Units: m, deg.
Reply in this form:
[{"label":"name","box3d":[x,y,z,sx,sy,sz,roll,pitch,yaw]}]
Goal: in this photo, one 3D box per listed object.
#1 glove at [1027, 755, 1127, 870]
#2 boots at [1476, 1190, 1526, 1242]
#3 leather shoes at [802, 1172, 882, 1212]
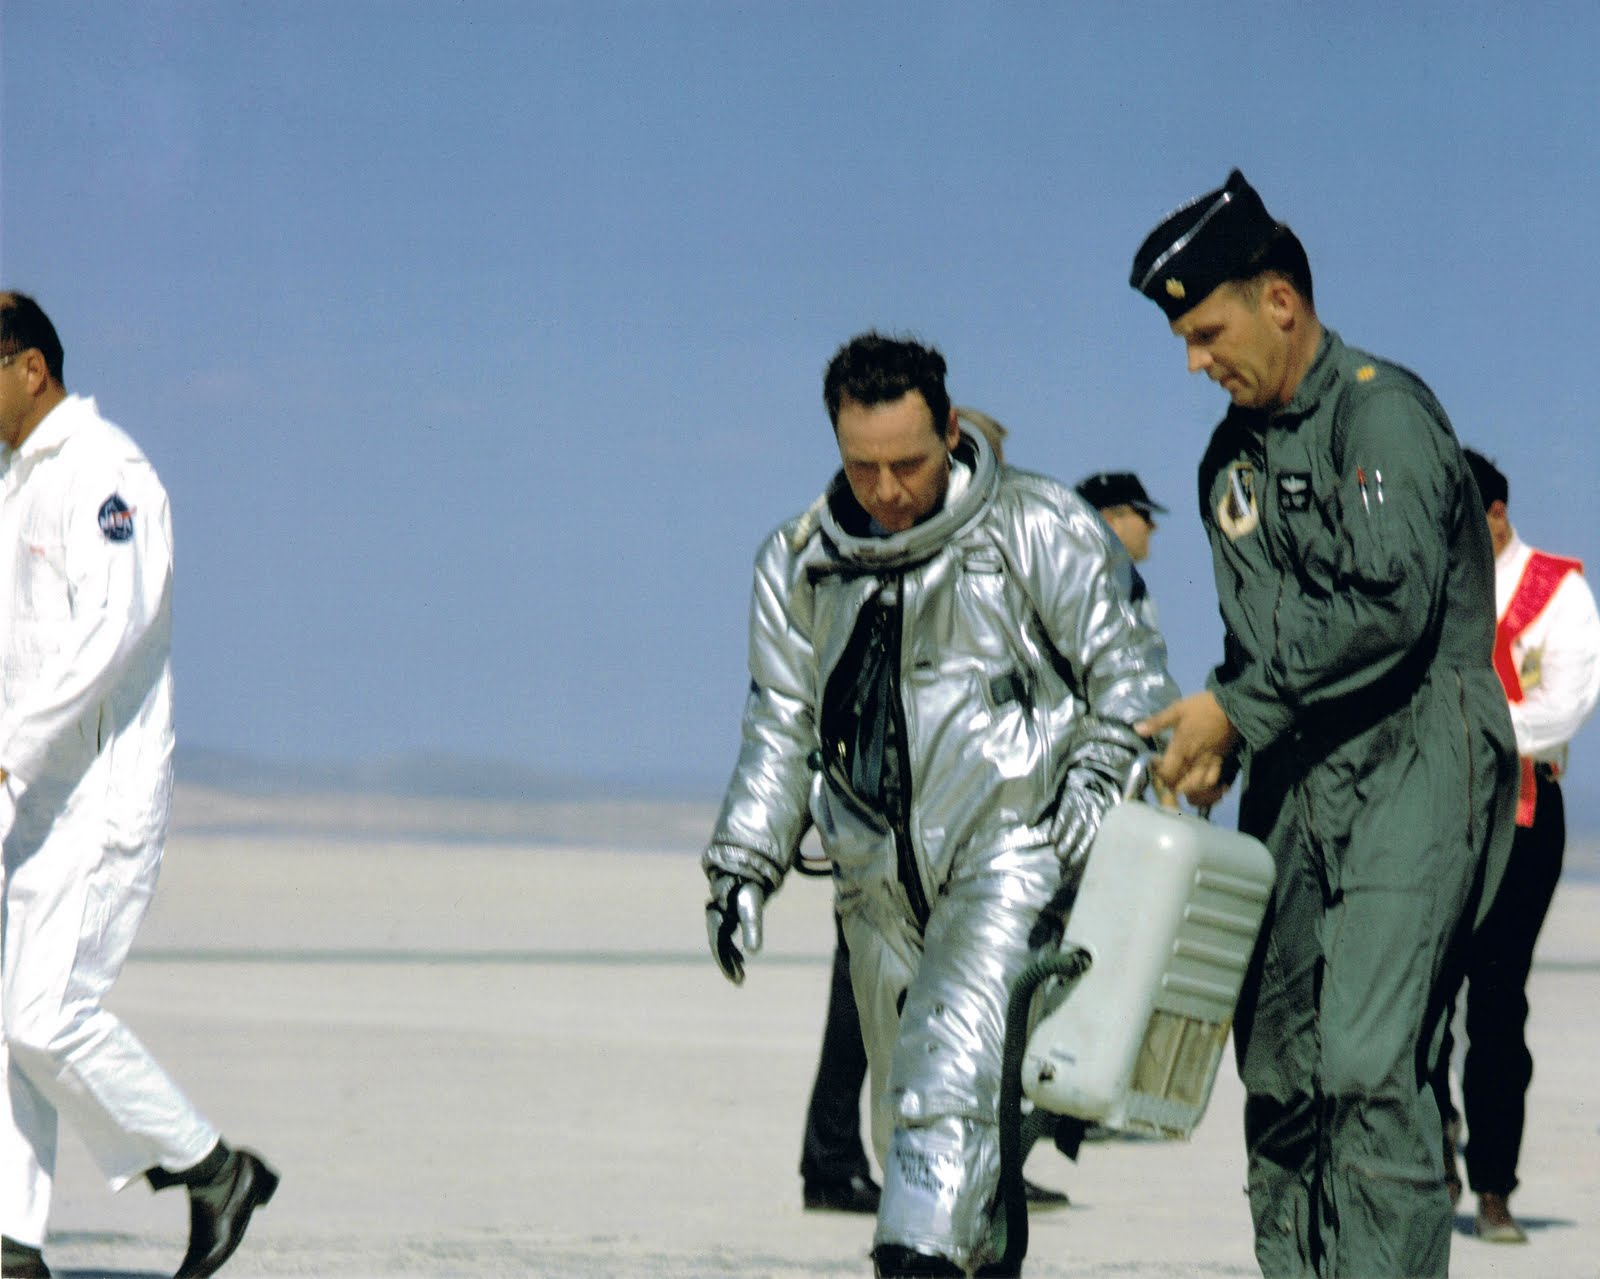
[{"label":"glove","box3d":[0.760,0.482,12.362,0.209,0.303,0.103,22,11,29]},{"label":"boots","box3d":[2.204,1.848,14.202,0.090,0.151,0.150,-1,-17,-2]},{"label":"leather shoes","box3d":[0.126,1.764,14.296,0.286,0.137,0.101,-2,2,-6]}]
